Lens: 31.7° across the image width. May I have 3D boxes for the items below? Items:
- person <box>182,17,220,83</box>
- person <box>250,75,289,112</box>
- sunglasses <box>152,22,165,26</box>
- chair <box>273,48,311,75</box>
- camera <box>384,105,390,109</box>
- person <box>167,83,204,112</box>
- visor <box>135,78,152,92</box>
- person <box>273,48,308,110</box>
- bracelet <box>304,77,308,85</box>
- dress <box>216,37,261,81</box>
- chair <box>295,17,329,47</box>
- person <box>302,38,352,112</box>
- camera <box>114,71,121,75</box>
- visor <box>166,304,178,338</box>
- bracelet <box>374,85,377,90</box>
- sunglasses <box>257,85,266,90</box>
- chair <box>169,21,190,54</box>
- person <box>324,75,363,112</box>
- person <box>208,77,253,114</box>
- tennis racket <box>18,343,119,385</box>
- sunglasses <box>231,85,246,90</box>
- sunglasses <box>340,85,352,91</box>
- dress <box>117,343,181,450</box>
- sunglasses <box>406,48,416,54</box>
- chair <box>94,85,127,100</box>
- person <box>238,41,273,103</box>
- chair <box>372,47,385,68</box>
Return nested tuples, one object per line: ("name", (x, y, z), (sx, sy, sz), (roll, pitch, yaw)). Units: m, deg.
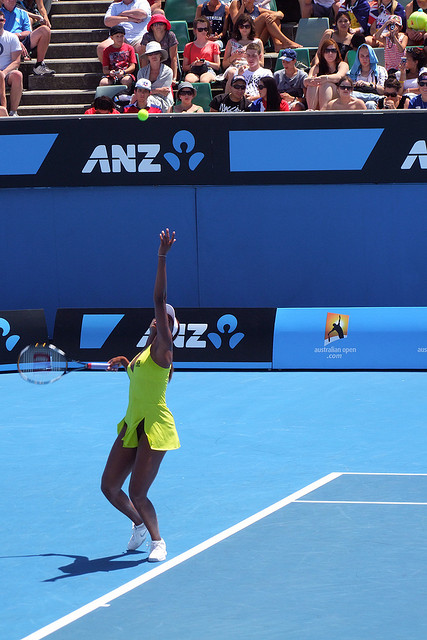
("person", (-0.245, -4.806, 13.866), (0.671, 1.376, 0.804), (2, 20, 5))
("person", (0.913, -3.445, 11.481), (0.612, 0.633, 0.794), (-1, 6, -5))
("sunglasses", (-0.983, -5.268, 13.412), (0.194, 0.055, 0.031), (0, 7, 5))
("chair", (1.431, -4.729, 13.538), (0.628, 0.545, 1.281), (0, 6, 9))
("camera", (2.655, -3.252, 11.490), (0.064, 0.063, 0.030), (3, 15, 28))
("person", (-0.435, -3.564, 12.165), (0.487, 0.499, 0.706), (-3, 7, -18))
("visor", (-1.112, -3.695, 11.783), (0.209, 0.195, 0.269), (0, 6, 7))
("person", (1.298, -3.810, 12.511), (0.681, 1.367, 0.748), (-2, 19, 2))
("bracelet", (1.487, -3.838, 12.057), (0.043, 0.127, 0.186), (0, 7, 11))
("dress", (0.405, -4.663, 13.324), (0.791, 0.805, 0.890), (0, 7, 7))
("chair", (1.961, -5.694, 15.136), (0.732, 0.691, 0.626), (3, -2, 12))
("person", (1.798, -3.767, 12.013), (0.578, 1.377, 0.719), (6, -5, 31))
("camera", (-1.698, -4.359, 13.255), (0.108, 0.048, 0.031), (0, 7, 4))
("visor", (-0.288, -0.013, 4.753), (0.056, 0.172, 0.108), (-8, -17, 41))
("bracelet", (2.595, -3.709, 11.985), (0.036, 0.082, 0.080), (0, 7, 6))
("sunglasses", (0.735, -3.563, 11.510), (0.039, 0.066, 0.144), (-7, 9, -43))
("chair", (-0.675, -5.691, 15.143), (0.389, 0.782, 0.644), (-1, 7, -2))
("person", (1.962, -3.383, 11.257), (0.555, 0.599, 0.806), (-1, 6, 1))
("person", (0.280, -3.435, 11.636), (0.659, 0.675, 1.562), (-1, 6, 1))
("tennis racket", (-1.060, 0.339, 5.808), (0.851, 0.325, 0.082), (4, -30, -17))
("sunglasses", (0.405, -3.600, 11.629), (0.203, 0.055, 0.073), (-3, 7, -18))
("sunglasses", (1.946, -3.407, 11.045), (0.164, 0.080, 0.080), (0, 7, 9))
("dress", (-0.396, 0.489, 4.713), (0.305, 0.605, 0.238), (4, 8, 37))
("sunglasses", (3.298, -4.498, 12.558), (0.102, 0.036, 0.100), (1, 2, -34))
("chair", (-1.762, -3.894, 12.831), (0.588, 0.273, 0.429), (0, 6, 6))
("person", (0.645, -4.095, 12.523), (0.649, 0.977, 0.549), (0, 7, 11))
("chair", (2.998, -4.765, 13.623), (0.196, 0.433, 0.487), (0, 7, 11))
